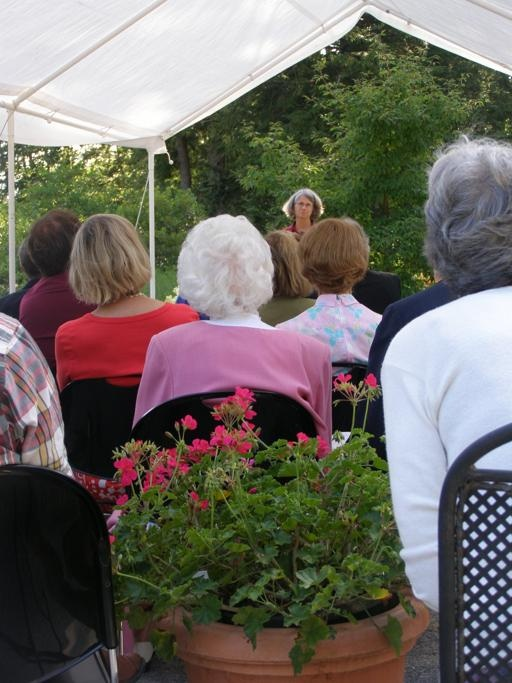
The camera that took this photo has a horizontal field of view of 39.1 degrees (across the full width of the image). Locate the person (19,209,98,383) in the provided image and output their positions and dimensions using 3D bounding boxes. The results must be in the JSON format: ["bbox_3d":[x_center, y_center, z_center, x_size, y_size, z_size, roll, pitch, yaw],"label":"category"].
[{"bbox_3d":[-0.869,-0.117,3.118,0.335,0.776,0.283,-3,7,-8],"label":"person"}]

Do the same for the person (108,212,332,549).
[{"bbox_3d":[-0.100,0.061,1.853,0.570,0.709,0.447,4,9,-8],"label":"person"}]
